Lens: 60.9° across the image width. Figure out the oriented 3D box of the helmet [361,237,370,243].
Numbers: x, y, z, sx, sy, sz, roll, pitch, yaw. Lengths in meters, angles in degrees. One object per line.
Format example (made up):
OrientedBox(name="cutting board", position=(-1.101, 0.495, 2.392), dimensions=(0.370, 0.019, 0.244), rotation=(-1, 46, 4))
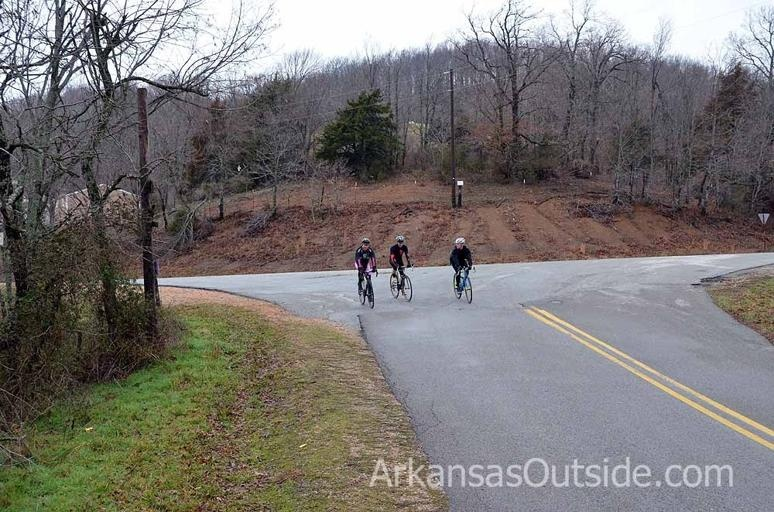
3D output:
OrientedBox(name="helmet", position=(-0.748, -0.531, 23.251), dimensions=(0.466, 0.223, 0.693), rotation=(1, 3, -5))
